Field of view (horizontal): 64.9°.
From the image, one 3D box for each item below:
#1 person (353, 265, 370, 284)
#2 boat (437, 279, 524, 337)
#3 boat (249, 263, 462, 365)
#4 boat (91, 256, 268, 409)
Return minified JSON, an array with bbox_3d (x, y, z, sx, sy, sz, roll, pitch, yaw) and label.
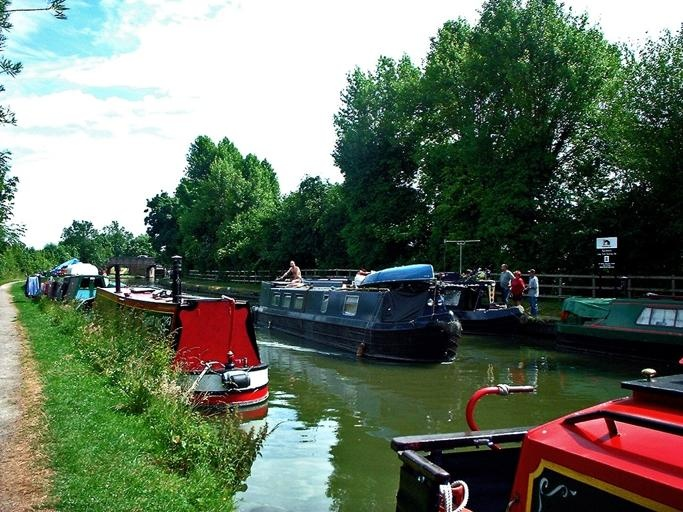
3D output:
[{"bbox_3d":[0.744,0.923,22.385,0.862,0.397,0.523,-10,-3,25],"label":"person"},{"bbox_3d":[5.820,2.261,22.199,1.775,1.687,5.216,-1,4,-21],"label":"boat"},{"bbox_3d":[-0.050,2.027,21.349,2.984,3.018,11.771,-5,2,-34],"label":"boat"},{"bbox_3d":[-4.972,1.675,14.690,2.448,3.601,7.632,-1,1,-39],"label":"boat"}]
